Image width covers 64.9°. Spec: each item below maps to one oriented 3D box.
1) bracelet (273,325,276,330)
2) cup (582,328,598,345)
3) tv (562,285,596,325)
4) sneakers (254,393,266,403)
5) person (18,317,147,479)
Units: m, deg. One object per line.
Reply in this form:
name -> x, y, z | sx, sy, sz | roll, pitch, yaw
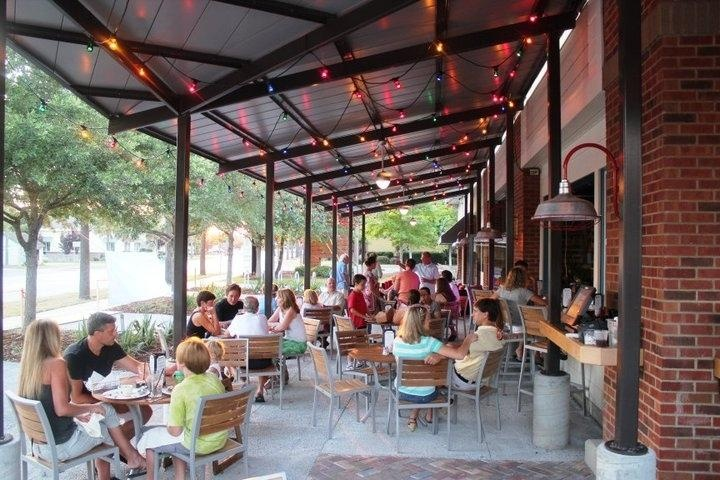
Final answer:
bracelet -> -1.462, 1.500, 9.651 | 0.039, 0.046, 0.051 | 1, -15, -5
cup -> 2.533, 1.067, 6.254 | 0.126, 0.141, 0.146 | 3, -11, -8
tv -> 2.752, 0.840, 7.123 | 0.361, 0.508, 0.589 | -1, 4, 15
sneakers -> -1.559, 2.476, 8.823 | 0.078, 0.086, 0.215 | 1, -2, -1
person -> -3.091, 1.724, 6.129 | 1.025, 1.796, 0.392 | -5, 5, -33
